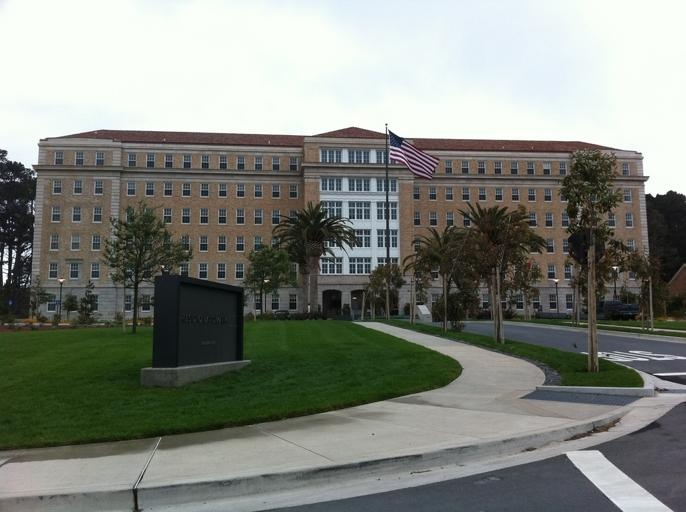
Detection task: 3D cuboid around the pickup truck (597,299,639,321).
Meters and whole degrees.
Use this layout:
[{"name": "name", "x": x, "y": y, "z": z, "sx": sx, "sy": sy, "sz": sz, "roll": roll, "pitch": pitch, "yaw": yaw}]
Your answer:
[{"name": "pickup truck", "x": 23.635, "y": 4.723, "z": 57.850, "sx": 1.726, "sy": 1.457, "sz": 2.659, "roll": 4, "pitch": -3, "yaw": -36}]
